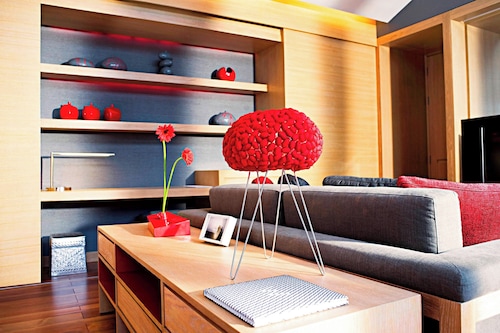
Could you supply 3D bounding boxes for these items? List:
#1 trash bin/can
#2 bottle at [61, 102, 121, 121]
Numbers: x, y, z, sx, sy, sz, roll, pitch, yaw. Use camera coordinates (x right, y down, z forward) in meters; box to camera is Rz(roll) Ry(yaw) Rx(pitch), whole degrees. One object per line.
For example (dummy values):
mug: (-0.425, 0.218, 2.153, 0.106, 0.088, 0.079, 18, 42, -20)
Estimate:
trash bin/can: (-1.836, 0.960, 3.782, 0.441, 0.376, 0.328, -10, -14, 18)
bottle: (-1.807, -0.621, 3.978, 0.683, 0.167, 0.360, -3, 2, -23)
